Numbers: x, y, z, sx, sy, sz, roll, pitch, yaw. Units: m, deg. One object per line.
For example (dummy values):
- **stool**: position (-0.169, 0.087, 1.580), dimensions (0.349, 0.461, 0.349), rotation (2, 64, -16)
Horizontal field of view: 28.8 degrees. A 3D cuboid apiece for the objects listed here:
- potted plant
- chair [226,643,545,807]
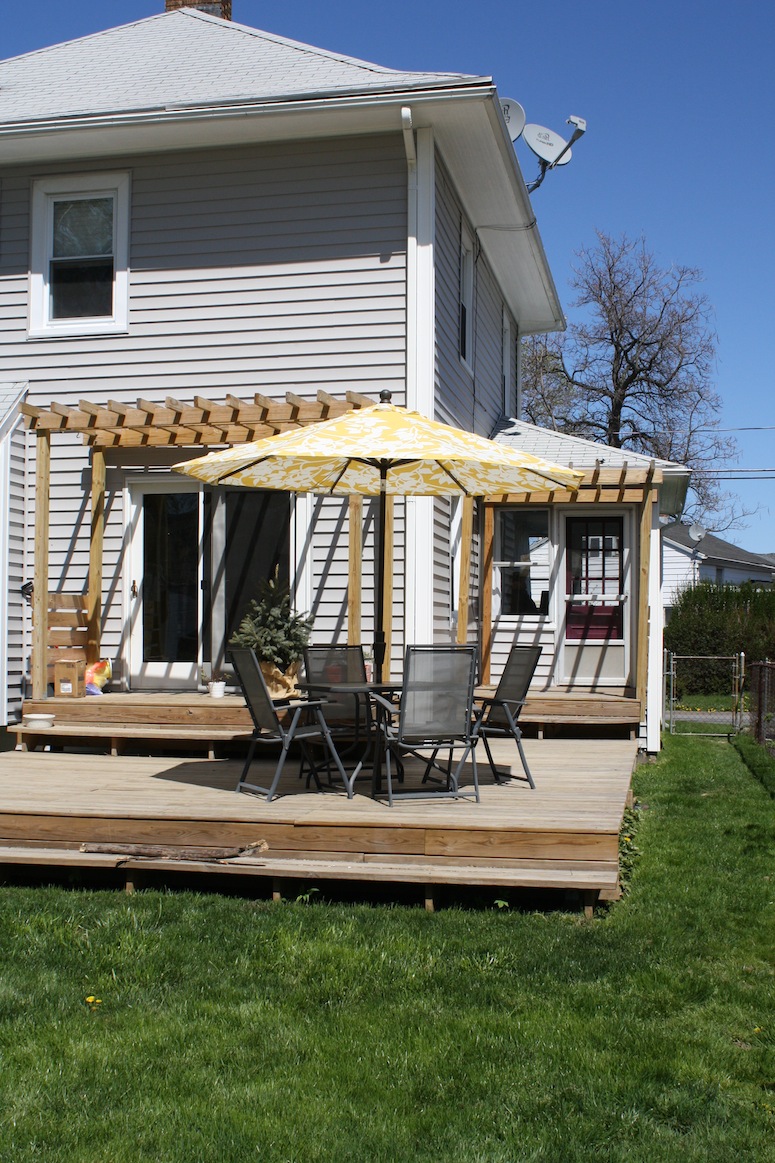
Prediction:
- **potted plant**: position (-0.843, 0.402, 11.210), dimensions (0.720, 1.156, 0.713), rotation (-3, -4, 18)
- **chair**: position (0.041, 0.776, 8.669), dimensions (1.605, 1.055, 1.854), rotation (3, 5, 6)
